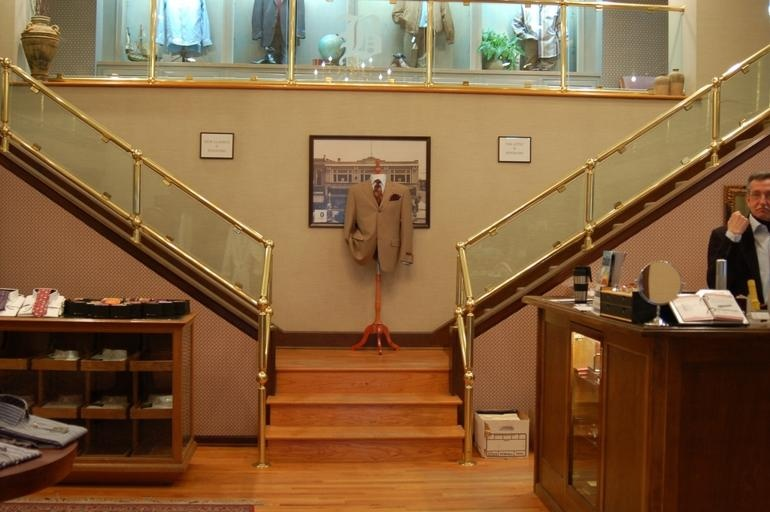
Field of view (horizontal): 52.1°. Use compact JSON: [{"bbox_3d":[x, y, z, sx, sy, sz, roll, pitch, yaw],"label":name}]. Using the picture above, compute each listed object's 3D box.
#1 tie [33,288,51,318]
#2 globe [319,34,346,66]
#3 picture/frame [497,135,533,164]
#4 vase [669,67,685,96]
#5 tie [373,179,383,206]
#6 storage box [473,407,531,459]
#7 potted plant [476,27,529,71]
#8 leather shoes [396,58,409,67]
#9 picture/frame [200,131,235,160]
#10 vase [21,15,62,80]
[{"bbox_3d":[-3.038,0.418,6.968,0.131,0.231,0.062,5,-36,-10],"label":"tie"},{"bbox_3d":[-0.631,-2.459,9.409,0.354,0.384,0.246,-2,6,-12],"label":"globe"},{"bbox_3d":[1.497,-1.251,9.172,0.343,0.246,0.026,0,2,-4],"label":"picture/frame"},{"bbox_3d":[3.491,-2.072,9.425,0.163,0.333,0.210,1,6,20],"label":"vase"},{"bbox_3d":[-0.077,-0.715,8.949,0.106,0.272,0.122,-1,6,-1],"label":"tie"},{"bbox_3d":[1.120,1.723,7.646,0.427,0.260,0.426,1,1,3],"label":"storage box"},{"bbox_3d":[1.462,-2.611,10.036,0.553,0.379,0.545,2,6,6],"label":"potted plant"},{"bbox_3d":[0.201,-2.251,9.230,0.123,0.103,0.041,-1,6,2],"label":"leather shoes"},{"bbox_3d":[-1.933,-1.272,9.005,0.338,0.397,0.042,0,5,-9],"label":"picture/frame"},{"bbox_3d":[-4.023,-2.384,9.110,0.463,0.666,0.471,9,11,16],"label":"vase"}]
